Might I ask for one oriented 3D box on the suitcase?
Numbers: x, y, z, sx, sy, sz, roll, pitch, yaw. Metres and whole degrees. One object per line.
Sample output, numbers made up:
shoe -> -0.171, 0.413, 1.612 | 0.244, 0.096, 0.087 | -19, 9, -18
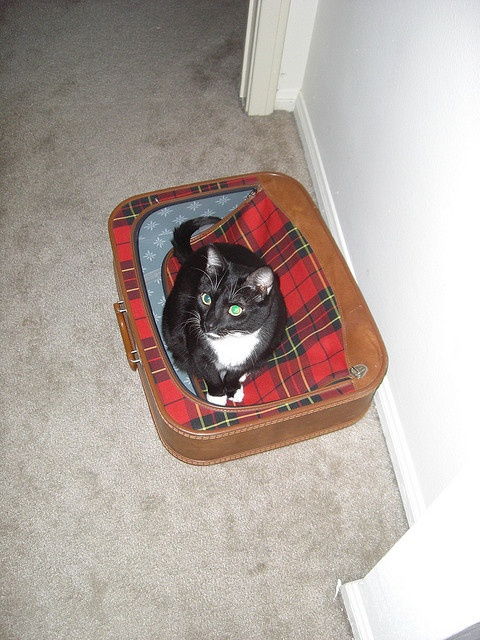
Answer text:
suitcase -> 0.035, 0.062, 1.622 | 0.696, 0.323, 0.864 | -14, 69, -10

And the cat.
cat -> -0.022, -0.063, 1.519 | 0.302, 0.383, 0.506 | -1, 38, -6
